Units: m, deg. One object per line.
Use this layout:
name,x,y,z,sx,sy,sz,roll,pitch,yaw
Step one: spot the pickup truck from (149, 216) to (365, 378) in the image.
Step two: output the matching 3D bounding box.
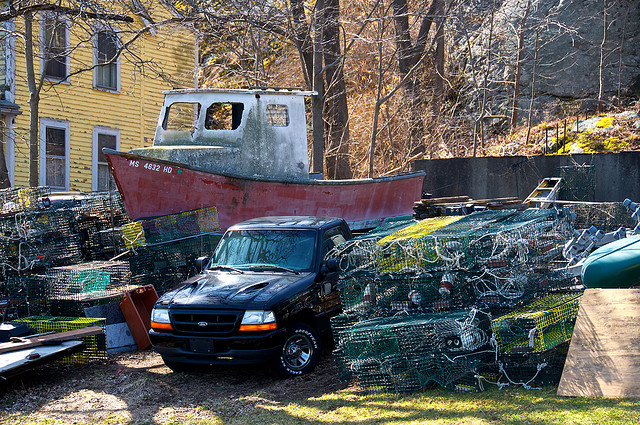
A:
pickup truck,-1.593,2.037,24.532,4.282,3.622,1.985,-1,3,-4

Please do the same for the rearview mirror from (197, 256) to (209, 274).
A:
rearview mirror,-2.805,1.290,25.238,0.265,0.465,0.339,-10,-17,41

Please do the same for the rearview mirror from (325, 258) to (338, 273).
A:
rearview mirror,0.297,1.282,24.698,0.240,0.296,0.288,1,-3,13

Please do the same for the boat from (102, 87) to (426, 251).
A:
boat,-0.610,-1.325,30.632,10.556,4.451,3.429,-4,8,-21
